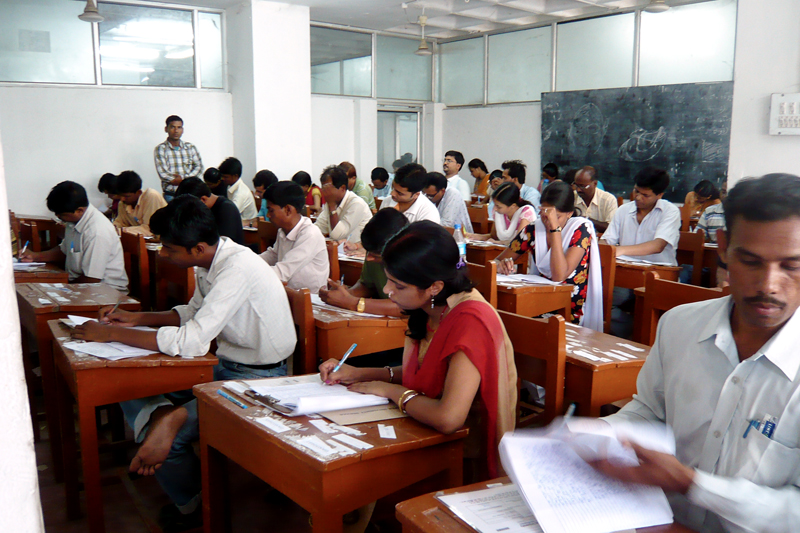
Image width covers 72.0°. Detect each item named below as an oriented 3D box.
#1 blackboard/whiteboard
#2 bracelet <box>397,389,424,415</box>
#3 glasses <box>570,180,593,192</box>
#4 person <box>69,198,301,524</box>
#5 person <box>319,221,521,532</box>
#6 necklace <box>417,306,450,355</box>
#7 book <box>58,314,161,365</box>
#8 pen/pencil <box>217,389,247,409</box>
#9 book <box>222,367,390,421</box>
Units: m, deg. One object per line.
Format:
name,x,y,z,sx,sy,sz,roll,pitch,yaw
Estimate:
blackboard/whiteboard,3.154,-1.625,7.041,2.484,1.713,0.047,9,13,43
bracelet,0.033,0.403,1.643,0.028,0.067,0.056,19,-1,-19
glasses,1.863,-0.801,5.465,0.177,0.054,0.165,-19,21,-40
person,-0.858,0.388,2.312,0.877,1.338,0.654,-5,12,-25
person,-0.011,0.269,2.278,0.822,1.486,0.713,0,0,-11
necklace,0.136,0.215,1.855,0.053,0.152,0.111,11,7,-37
book,-1.120,0.307,2.085,0.354,0.032,0.182,5,12,24
pen/pencil,-0.530,0.407,1.716,0.026,0.011,0.122,-22,27,-31
book,-0.314,0.389,1.754,0.504,0.045,0.288,9,14,38
